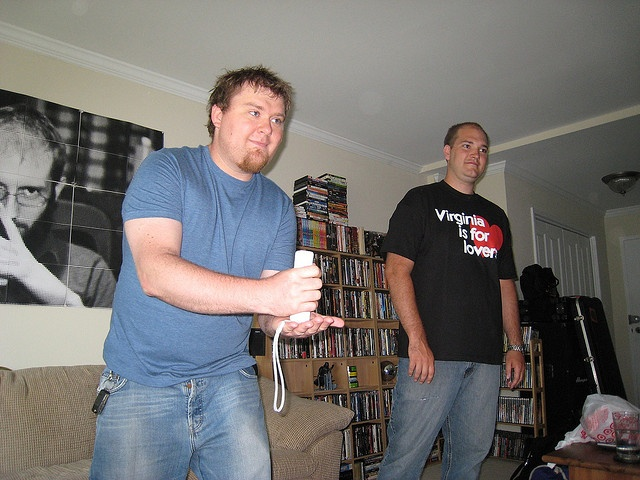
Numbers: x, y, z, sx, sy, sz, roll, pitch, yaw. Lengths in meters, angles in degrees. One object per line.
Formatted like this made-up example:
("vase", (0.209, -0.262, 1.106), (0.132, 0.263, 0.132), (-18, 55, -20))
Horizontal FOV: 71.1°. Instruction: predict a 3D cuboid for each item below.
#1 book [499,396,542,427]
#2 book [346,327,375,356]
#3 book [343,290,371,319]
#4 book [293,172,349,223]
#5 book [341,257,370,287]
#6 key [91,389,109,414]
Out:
("book", (1.864, 1.623, 4.197), (0.455, 0.267, 0.127), (-2, -12, 32))
("book", (0.377, 0.978, 4.210), (0.036, 0.199, 0.261), (-12, -16, 40))
("book", (0.348, 0.629, 4.252), (0.124, 0.232, 0.239), (-13, -17, 40))
("book", (0.008, -0.383, 4.217), (0.559, 0.565, 0.291), (6, -4, -37))
("book", (0.334, 0.323, 4.317), (0.241, 0.233, 0.128), (13, -19, -42))
("key", (-0.658, 0.492, 1.350), (0.041, 0.080, 0.021), (15, -7, 30))
